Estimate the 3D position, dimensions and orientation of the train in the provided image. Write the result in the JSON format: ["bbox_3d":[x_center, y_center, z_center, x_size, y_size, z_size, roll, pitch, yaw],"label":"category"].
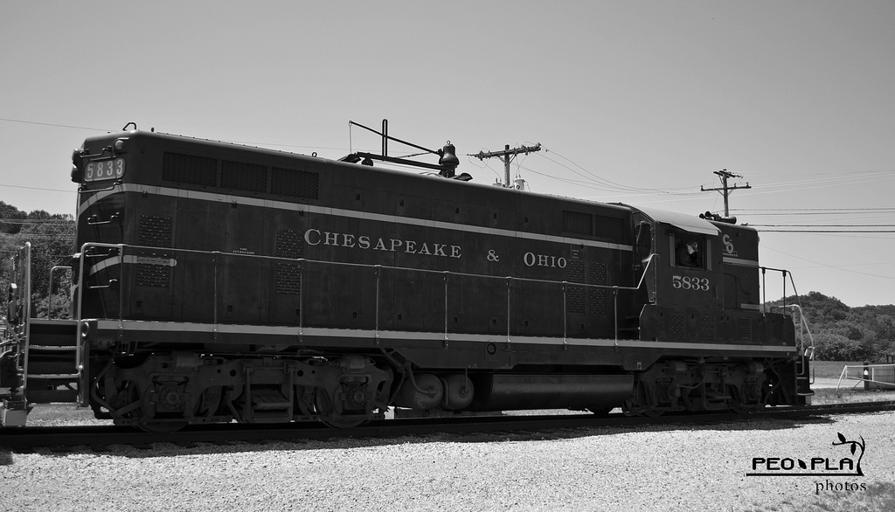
[{"bbox_3d":[0.843,1.141,18.635,17.588,5.102,4.430,5,-5,-28],"label":"train"}]
